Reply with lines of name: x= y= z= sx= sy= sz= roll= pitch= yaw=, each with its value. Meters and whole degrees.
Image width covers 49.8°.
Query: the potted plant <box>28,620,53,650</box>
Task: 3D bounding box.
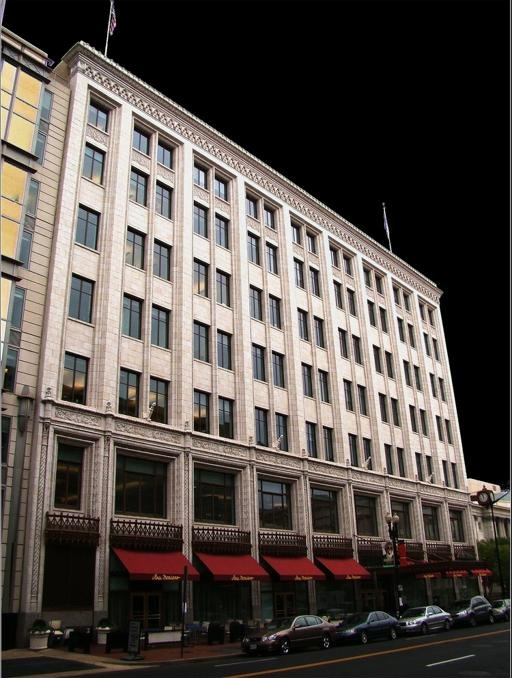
potted plant: x=-7.166 y=9.785 z=18.148 sx=0.725 sy=0.973 sz=0.724 roll=8 pitch=-27 yaw=-19
